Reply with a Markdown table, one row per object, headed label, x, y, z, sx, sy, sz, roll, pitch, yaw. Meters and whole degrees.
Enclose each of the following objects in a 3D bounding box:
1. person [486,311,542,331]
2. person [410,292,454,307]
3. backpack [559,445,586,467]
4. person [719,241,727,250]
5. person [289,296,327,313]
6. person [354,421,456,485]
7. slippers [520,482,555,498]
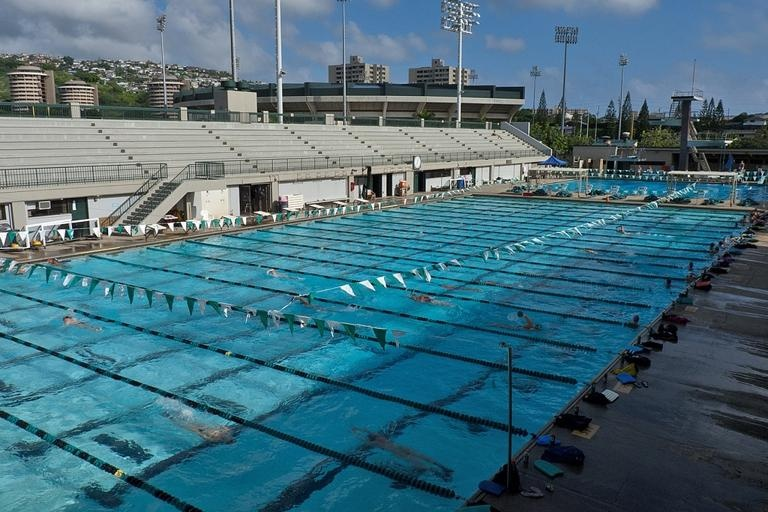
| label | x | y | z | sx | sy | sz | roll | pitch | yaw |
| --- | --- | --- | --- | --- | --- | --- | --- | --- | --- |
| person | 3.725 | 1.721 | 14.762 | 1.328 | 0.373 | 1.177 | -2 | 13 | -5 |
| person | 1.498 | 1.389 | 16.442 | 1.260 | 0.174 | 0.395 | 9 | 32 | 15 |
| backpack | 3.158 | 3.326 | 8.708 | 0.306 | 0.098 | 0.281 | 5 | 17 | 23 |
| person | 14.641 | -0.469 | 22.673 | 0.327 | 0.340 | 0.989 | 3 | 15 | 31 |
| person | -2.317 | 1.437 | 15.949 | 1.002 | 0.185 | 1.309 | -10 | 15 | -33 |
| person | 0.480 | 3.611 | 9.431 | 1.717 | 0.178 | 0.413 | 8 | 16 | 36 |
| slippers | 2.386 | 3.630 | 8.104 | 0.377 | 0.100 | 0.198 | -3 | 6 | -12 |
